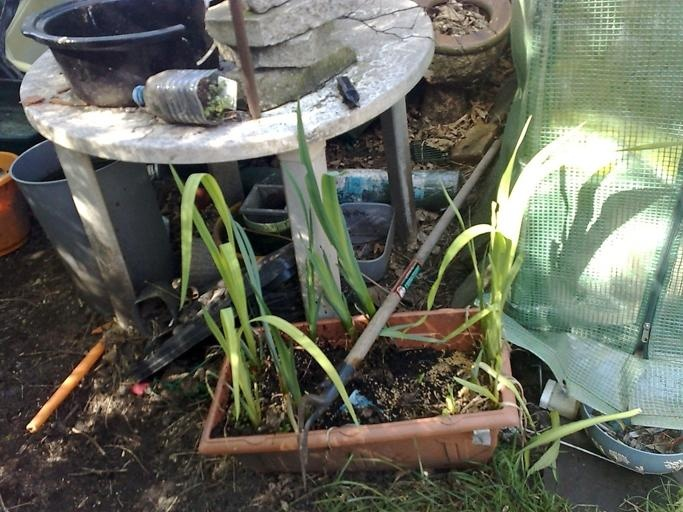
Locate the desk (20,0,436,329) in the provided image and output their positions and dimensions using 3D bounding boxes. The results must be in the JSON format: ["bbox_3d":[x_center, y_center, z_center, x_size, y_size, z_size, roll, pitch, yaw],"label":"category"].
[{"bbox_3d":[-0.294,-0.444,2.290,1.289,0.919,1.349,2,51,7],"label":"desk"}]

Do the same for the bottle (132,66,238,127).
[{"bbox_3d":[-0.488,-0.474,1.764,0.279,0.161,0.142,4,82,15],"label":"bottle"}]

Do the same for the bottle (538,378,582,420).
[{"bbox_3d":[0.754,0.494,2.026,0.148,0.142,0.144,26,88,22],"label":"bottle"}]

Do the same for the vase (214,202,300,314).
[{"bbox_3d":[-0.282,-0.007,2.217,0.323,0.260,0.355,8,44,11],"label":"vase"}]
